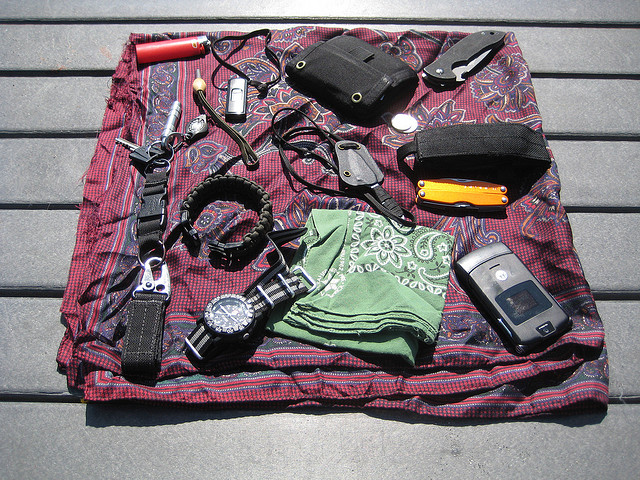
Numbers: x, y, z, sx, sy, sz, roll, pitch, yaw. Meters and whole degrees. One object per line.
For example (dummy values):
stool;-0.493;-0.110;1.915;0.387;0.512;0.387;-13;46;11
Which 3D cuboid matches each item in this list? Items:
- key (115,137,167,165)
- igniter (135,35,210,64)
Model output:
key;-0.706;-0.343;2.455;0.201;0.098;0.067;4;-10;-12
igniter;-0.627;-0.811;2.760;0.381;0.114;0.102;-8;-46;-7
